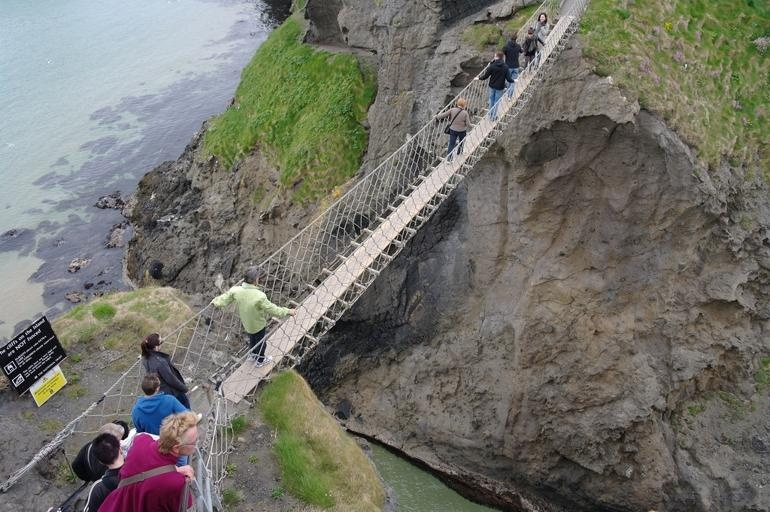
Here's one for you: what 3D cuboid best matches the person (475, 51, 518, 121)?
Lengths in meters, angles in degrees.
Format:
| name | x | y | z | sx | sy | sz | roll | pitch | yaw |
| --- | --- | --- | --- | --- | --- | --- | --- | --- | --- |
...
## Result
| name | x | y | z | sx | sy | sz | roll | pitch | yaw |
| --- | --- | --- | --- | --- | --- | --- | --- | --- | --- |
| person | 3.679 | -5.784 | 21.717 | 1.278 | 1.916 | 0.838 | -32 | 46 | -19 |

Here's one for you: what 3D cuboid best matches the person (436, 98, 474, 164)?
| name | x | y | z | sx | sy | sz | roll | pitch | yaw |
| --- | --- | --- | --- | --- | --- | --- | --- | --- | --- |
| person | 2.279 | -4.117 | 21.218 | 0.925 | 1.820 | 0.854 | -10 | 43 | 4 |

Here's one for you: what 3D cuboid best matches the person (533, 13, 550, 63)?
| name | x | y | z | sx | sy | sz | roll | pitch | yaw |
| --- | --- | --- | --- | --- | --- | --- | --- | --- | --- |
| person | 5.426 | -7.673 | 22.727 | 0.442 | 1.553 | 0.440 | 20 | 50 | 23 |

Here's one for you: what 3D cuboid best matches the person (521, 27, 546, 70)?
| name | x | y | z | sx | sy | sz | roll | pitch | yaw |
| --- | --- | --- | --- | --- | --- | --- | --- | --- | --- |
| person | 4.918 | -7.104 | 21.933 | 0.509 | 1.009 | 1.136 | 27 | 57 | 35 |
